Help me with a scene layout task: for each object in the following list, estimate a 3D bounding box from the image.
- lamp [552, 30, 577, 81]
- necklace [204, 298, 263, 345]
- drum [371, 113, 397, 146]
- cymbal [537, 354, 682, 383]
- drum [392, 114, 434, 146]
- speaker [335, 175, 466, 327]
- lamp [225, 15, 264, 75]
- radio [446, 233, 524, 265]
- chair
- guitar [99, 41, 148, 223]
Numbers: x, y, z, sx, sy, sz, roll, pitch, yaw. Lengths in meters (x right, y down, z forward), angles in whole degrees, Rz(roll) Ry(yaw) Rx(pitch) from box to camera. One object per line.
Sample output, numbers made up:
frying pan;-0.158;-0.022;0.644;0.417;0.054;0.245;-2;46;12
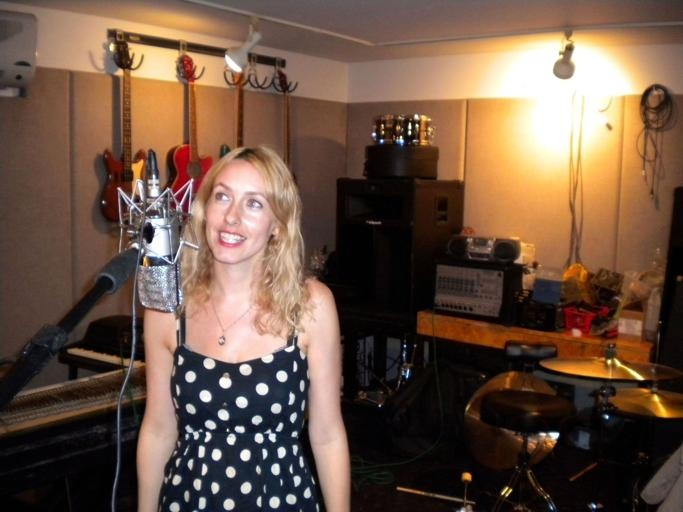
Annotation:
lamp;1.759;-1.557;4.589;0.144;0.343;0.585;5;10;19
necklace;-0.376;0.233;2.030;0.138;0.149;0.006;8;-23;14
drum;0.325;-1.084;4.941;0.220;0.261;0.224;10;13;42
cymbal;1.526;0.636;3.277;0.361;0.082;0.363;-1;5;-26
drum;0.599;-1.057;4.899;0.331;0.245;0.181;1;9;-5
speaker;0.349;-0.284;5.099;1.272;1.043;1.333;-3;25;-3
lamp;-0.707;-1.526;4.221;0.221;0.396;0.174;15;5;-25
radio;1.101;-0.058;4.535;0.554;0.186;0.135;5;9;17
chair;1.144;1.062;3.765;0.618;0.964;0.826;4;9;13
guitar;-1.668;-0.936;4.420;0.328;1.376;0.369;2;8;5
